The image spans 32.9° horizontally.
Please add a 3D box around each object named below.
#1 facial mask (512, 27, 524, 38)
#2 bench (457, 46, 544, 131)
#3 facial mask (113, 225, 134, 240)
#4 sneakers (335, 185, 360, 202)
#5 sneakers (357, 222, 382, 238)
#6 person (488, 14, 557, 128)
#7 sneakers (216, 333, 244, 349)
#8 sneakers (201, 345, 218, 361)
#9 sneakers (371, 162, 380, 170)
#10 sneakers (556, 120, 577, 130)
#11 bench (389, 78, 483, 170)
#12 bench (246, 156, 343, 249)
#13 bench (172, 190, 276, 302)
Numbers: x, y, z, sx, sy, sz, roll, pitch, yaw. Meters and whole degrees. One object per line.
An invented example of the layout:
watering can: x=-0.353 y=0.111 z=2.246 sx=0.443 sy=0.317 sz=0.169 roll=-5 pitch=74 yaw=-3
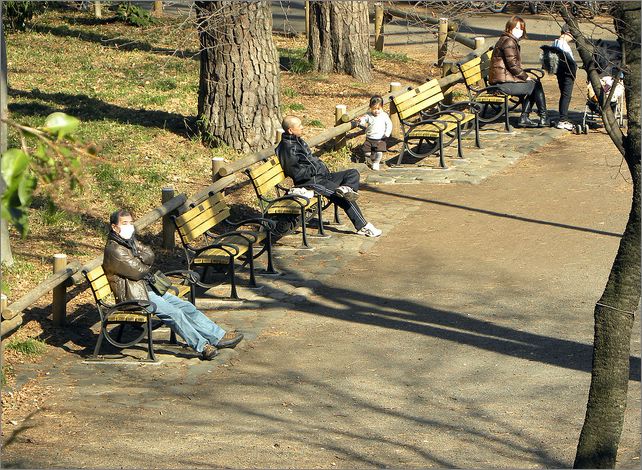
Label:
facial mask: x=3.540 y=-3.628 z=19.559 sx=0.223 sy=0.042 sz=0.226 roll=-16 pitch=-22 yaw=35
bench: x=3.339 y=-2.673 z=20.411 sx=1.180 sy=0.940 sz=2.671 roll=3 pitch=15 yaw=19
facial mask: x=-2.270 y=-0.032 z=12.623 sx=0.194 sy=0.111 sz=0.177 roll=-3 pitch=2 yaw=31
sneakers: x=0.364 y=-0.591 z=15.533 sx=0.363 sy=0.134 sz=0.163 roll=24 pitch=-36 yaw=-29
sneakers: x=0.705 y=-0.048 z=15.635 sx=0.381 sy=0.116 sz=0.191 roll=5 pitch=15 yaw=20
person: x=3.583 y=-2.913 z=19.796 sx=0.846 sy=2.113 sz=1.268 roll=21 pitch=29 yaw=39
sneakers: x=-1.081 y=1.270 z=12.739 sx=0.400 sy=0.135 sz=0.118 roll=-15 pitch=31 yaw=-4
sneakers: x=-1.277 y=1.367 z=12.586 sx=0.137 sy=0.176 sz=0.168 roll=13 pitch=23 yaw=28
sneakers: x=0.929 y=-1.156 z=18.576 sx=0.150 sy=0.105 sz=0.089 roll=-3 pitch=-18 yaw=36
sneakers: x=4.531 y=-2.021 z=20.150 sx=0.451 sy=0.137 sz=0.139 roll=2 pitch=19 yaw=-7
bench: x=2.063 y=-1.966 z=19.149 sx=1.230 sy=0.997 sz=1.880 roll=13 pitch=24 yaw=20
bench: x=-0.383 y=-0.425 z=15.656 sx=0.901 sy=0.772 sz=1.645 roll=-3 pitch=7 yaw=15
bench: x=-1.326 y=0.210 z=14.497 sx=1.033 sy=0.804 sz=1.735 roll=2 pitch=11 yaw=17
